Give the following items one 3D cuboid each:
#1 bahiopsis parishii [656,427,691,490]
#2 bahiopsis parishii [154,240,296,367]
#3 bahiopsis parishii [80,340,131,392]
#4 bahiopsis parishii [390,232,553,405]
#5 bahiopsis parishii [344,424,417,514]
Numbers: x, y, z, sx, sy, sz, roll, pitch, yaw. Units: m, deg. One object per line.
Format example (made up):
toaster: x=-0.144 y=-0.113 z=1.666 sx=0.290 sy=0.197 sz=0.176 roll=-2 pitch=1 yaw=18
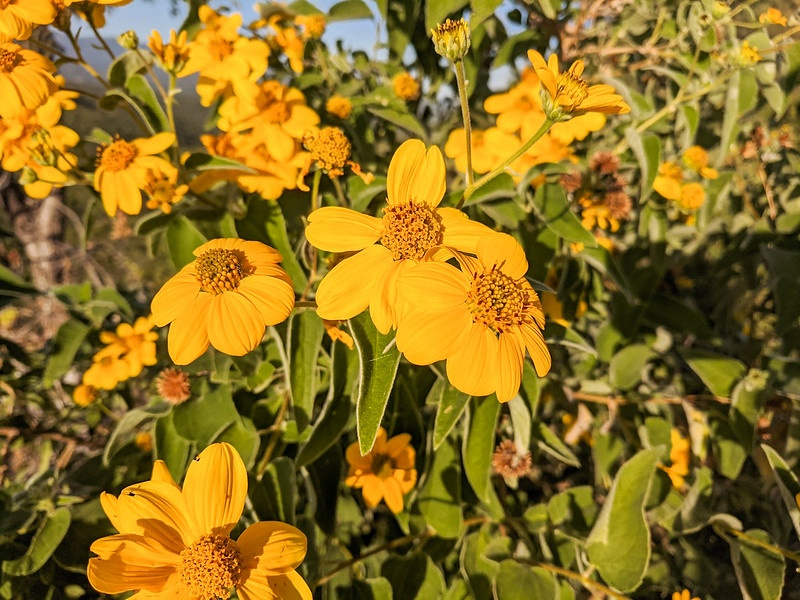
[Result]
bahiopsis parishii: x=1.012 y=0.590 z=3.052 sx=0.050 sy=0.237 sz=0.221 roll=6 pitch=25 yaw=45
bahiopsis parishii: x=-0.554 y=0.010 z=2.553 sx=0.397 sy=0.263 sz=0.312 roll=-11 pitch=38 yaw=-31
bahiopsis parishii: x=-1.134 y=0.221 z=3.134 sx=0.057 sy=0.224 sz=0.213 roll=25 pitch=4 yaw=24
bahiopsis parishii: x=0.229 y=0.040 z=2.485 sx=0.483 sy=0.394 sz=0.311 roll=8 pitch=31 yaw=-4
bahiopsis parishii: x=-0.073 y=0.602 z=2.986 sx=0.258 sy=0.216 sz=0.198 roll=9 pitch=32 yaw=-3
